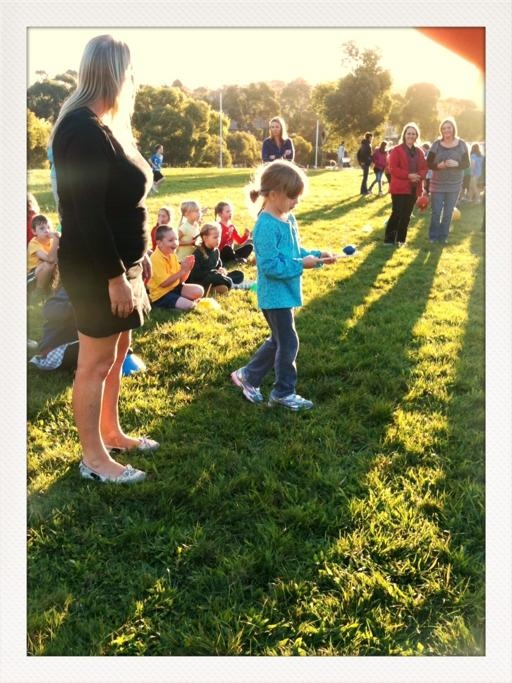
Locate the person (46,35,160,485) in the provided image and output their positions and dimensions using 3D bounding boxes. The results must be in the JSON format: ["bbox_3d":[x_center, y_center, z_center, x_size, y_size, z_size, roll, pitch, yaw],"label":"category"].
[{"bbox_3d":[-0.733,-0.308,2.621,0.420,2.063,0.628,1,10,-8],"label":"person"}]

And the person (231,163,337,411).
[{"bbox_3d":[0.180,-0.369,3.702,0.522,1.626,0.471,1,10,-10],"label":"person"}]

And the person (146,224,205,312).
[{"bbox_3d":[-0.881,-0.815,6.020,0.620,0.879,0.541,7,20,13],"label":"person"}]

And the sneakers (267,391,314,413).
[{"bbox_3d":[0.232,0.405,3.680,0.299,0.132,0.114,3,15,2],"label":"sneakers"}]

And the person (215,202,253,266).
[{"bbox_3d":[-0.305,-1.667,8.436,0.625,0.996,0.644,-10,12,8],"label":"person"}]

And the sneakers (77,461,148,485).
[{"bbox_3d":[-0.729,0.674,2.771,0.316,0.114,0.120,1,1,-5],"label":"sneakers"}]

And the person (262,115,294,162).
[{"bbox_3d":[0.382,-3.592,9.700,0.542,0.813,0.565,2,10,-1],"label":"person"}]

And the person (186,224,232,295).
[{"bbox_3d":[-0.474,-1.044,6.651,0.566,0.780,0.572,-21,28,-38],"label":"person"}]

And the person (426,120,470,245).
[{"bbox_3d":[3.277,-2.762,9.485,0.683,2.093,0.944,5,10,15],"label":"person"}]

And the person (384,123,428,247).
[{"bbox_3d":[2.623,-2.737,9.610,0.652,2.085,1.193,5,10,15],"label":"person"}]

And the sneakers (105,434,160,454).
[{"bbox_3d":[-0.704,0.566,3.119,0.301,0.082,0.107,-1,8,-14],"label":"sneakers"}]
